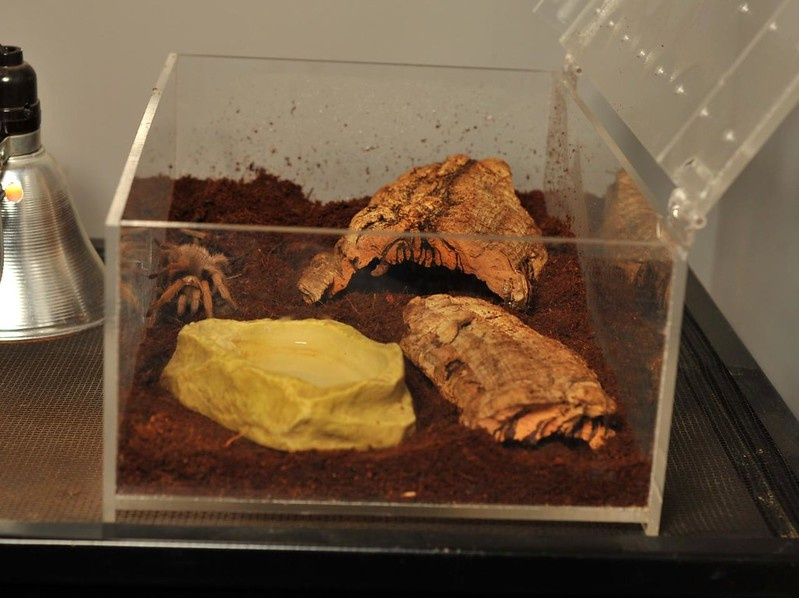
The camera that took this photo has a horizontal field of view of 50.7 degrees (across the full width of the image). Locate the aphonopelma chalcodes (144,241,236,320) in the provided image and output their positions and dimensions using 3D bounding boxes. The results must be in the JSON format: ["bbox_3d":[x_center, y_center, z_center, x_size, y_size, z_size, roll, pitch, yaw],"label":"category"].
[{"bbox_3d":[-0.378,-0.045,1.604,0.135,0.149,0.045,7,24,7],"label":"aphonopelma chalcodes"}]
